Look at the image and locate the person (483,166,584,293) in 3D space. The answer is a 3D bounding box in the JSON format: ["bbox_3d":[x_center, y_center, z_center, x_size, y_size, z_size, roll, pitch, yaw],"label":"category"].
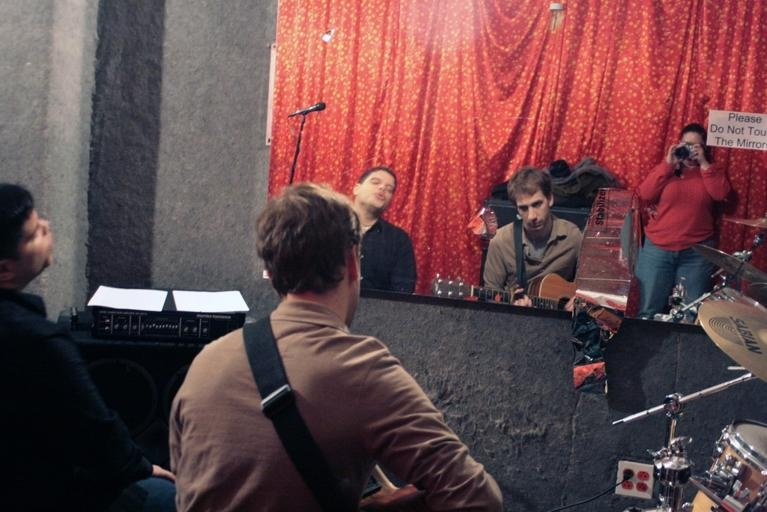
[{"bbox_3d":[0.818,-0.059,4.184,0.638,0.811,0.452,-5,18,3],"label":"person"}]

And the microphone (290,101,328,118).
[{"bbox_3d":[-0.417,-0.827,4.441,0.217,0.051,0.051,-13,20,23],"label":"microphone"}]

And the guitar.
[{"bbox_3d":[0.638,0.179,4.200,0.638,0.131,0.254,6,16,1],"label":"guitar"}]
